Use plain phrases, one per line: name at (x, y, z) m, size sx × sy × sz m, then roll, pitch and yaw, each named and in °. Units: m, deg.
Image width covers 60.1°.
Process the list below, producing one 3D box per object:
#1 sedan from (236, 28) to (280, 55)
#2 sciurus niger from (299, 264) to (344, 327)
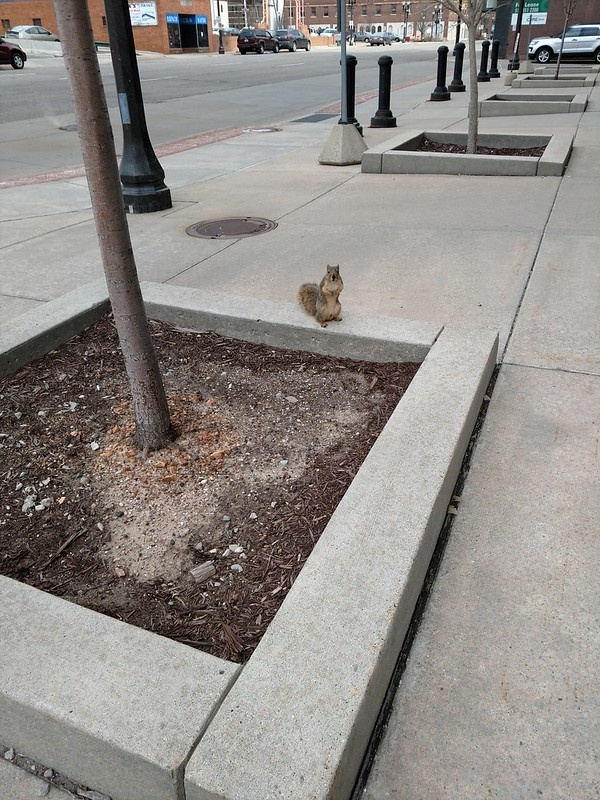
sedan at (-4.655, -38.556, 55.868) m, size 2.332 × 2.455 × 5.714 m, roll 7°, pitch 33°, yaw 24°
sciurus niger at (0.150, -0.679, 3.260) m, size 0.242 × 0.363 × 0.436 m, roll -13°, pitch 29°, yaw -11°
